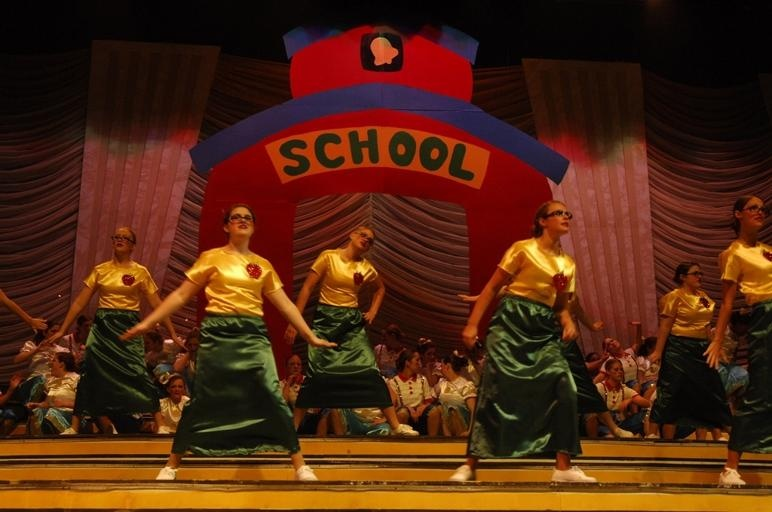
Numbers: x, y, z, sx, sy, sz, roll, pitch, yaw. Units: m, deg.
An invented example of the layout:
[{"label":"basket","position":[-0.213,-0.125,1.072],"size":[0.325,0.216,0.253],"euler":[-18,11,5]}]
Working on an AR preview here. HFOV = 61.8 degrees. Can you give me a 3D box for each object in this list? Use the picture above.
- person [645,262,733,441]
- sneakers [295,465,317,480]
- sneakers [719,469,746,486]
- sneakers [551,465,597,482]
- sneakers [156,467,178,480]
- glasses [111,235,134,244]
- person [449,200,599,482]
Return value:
[{"label":"person","position":[3.277,1.007,6.891],"size":[0.879,1.852,0.572],"euler":[2,-4,7]},{"label":"sneakers","position":[-0.652,1.728,5.210],"size":[0.118,0.057,0.136],"euler":[7,3,-13]},{"label":"sneakers","position":[2.845,1.783,5.314],"size":[0.176,0.115,0.699],"euler":[-8,-18,26]},{"label":"sneakers","position":[1.537,1.709,5.174],"size":[0.402,0.147,0.139],"euler":[1,-12,0]},{"label":"sneakers","position":[-1.784,1.729,5.237],"size":[0.142,0.104,0.147],"euler":[4,-17,-12]},{"label":"glasses","position":[-2.956,-0.182,7.294],"size":[0.120,0.031,0.113],"euler":[4,-42,-9]},{"label":"person","position":[1.121,0.651,5.336],"size":[0.990,2.248,0.586],"euler":[-4,-17,14]}]
